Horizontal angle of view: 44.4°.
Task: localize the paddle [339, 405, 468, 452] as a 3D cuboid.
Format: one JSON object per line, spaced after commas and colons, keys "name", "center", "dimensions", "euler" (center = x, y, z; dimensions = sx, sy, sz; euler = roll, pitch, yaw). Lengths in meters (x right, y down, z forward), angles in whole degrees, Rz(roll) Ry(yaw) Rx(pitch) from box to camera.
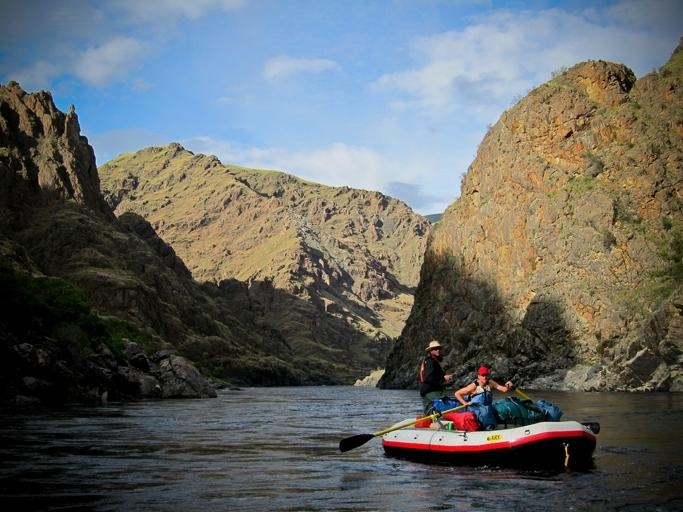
{"name": "paddle", "center": [4.043, 9.913, 49.309], "dimensions": [8.765, 0.499, 1.070], "euler": [-14, 32, -10]}
